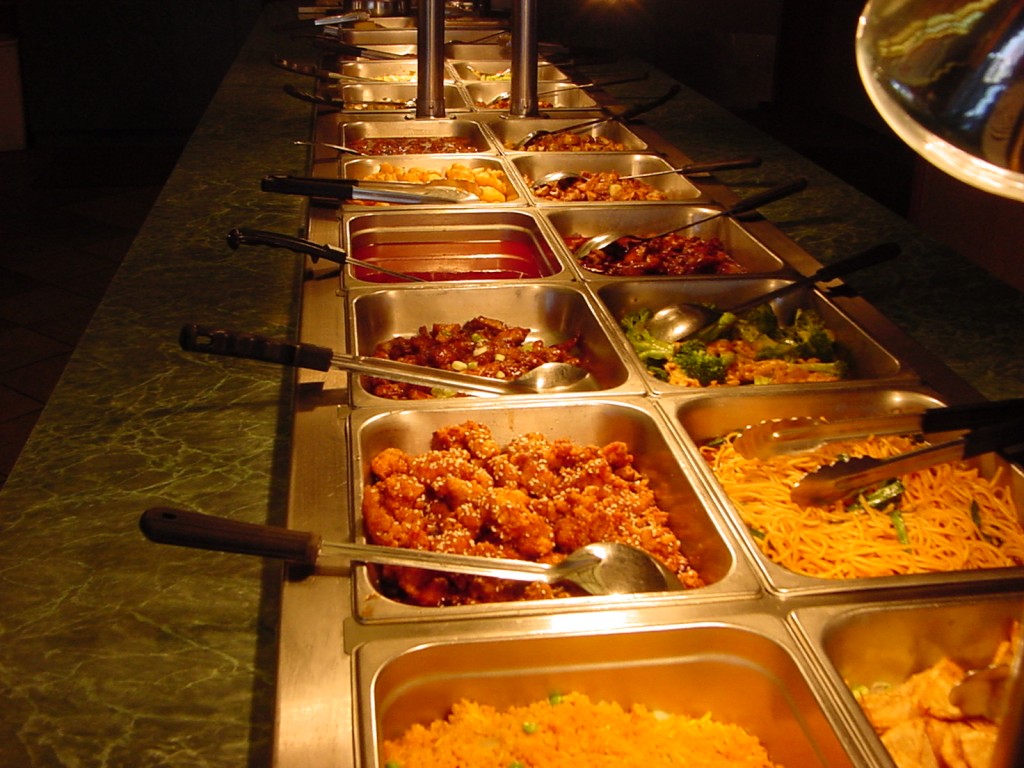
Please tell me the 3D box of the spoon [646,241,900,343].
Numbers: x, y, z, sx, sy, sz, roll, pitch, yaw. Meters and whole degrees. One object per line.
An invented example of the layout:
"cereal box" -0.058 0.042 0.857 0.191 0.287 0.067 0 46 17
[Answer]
"spoon" 0.551 -0.200 1.733 0.515 0.047 0.092 -21 17 38

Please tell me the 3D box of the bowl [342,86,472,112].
"bowl" -0.435 -1.185 3.478 0.528 0.122 0.272 0 32 -3

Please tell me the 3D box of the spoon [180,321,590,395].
"spoon" -0.235 -0.044 1.457 0.538 0.057 0.079 9 16 -24

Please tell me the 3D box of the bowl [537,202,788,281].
"bowl" 0.359 -0.335 1.972 0.469 0.110 0.266 -2 31 -5

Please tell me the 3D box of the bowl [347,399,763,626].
"bowl" 0.020 0.161 1.158 0.423 0.078 0.329 -2 32 -14

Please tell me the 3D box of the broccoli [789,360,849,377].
"broccoli" 0.576 -0.030 1.534 0.081 0.016 0.035 -5 10 6

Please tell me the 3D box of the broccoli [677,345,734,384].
"broccoli" 0.360 -0.040 1.529 0.081 0.032 0.084 19 2 0

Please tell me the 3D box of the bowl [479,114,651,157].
"bowl" 0.190 -0.859 2.810 0.481 0.106 0.259 -2 33 -12

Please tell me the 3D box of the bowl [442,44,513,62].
"bowl" -0.184 -1.753 4.289 0.262 0.063 0.134 1 34 -7

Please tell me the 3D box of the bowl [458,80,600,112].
"bowl" 0.077 -1.200 3.396 0.504 0.118 0.300 -1 34 -6

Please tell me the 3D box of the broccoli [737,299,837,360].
"broccoli" 0.541 -0.098 1.649 0.132 0.059 0.156 -4 31 -44

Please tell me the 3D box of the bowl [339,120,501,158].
"bowl" -0.346 -0.904 2.965 0.524 0.062 0.270 -1 30 -6

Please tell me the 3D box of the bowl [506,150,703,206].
"bowl" 0.259 -0.603 2.404 0.469 0.114 0.260 -3 42 -15

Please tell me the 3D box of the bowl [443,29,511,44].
"bowl" -0.187 -1.923 4.521 0.438 0.071 0.173 2 29 4
